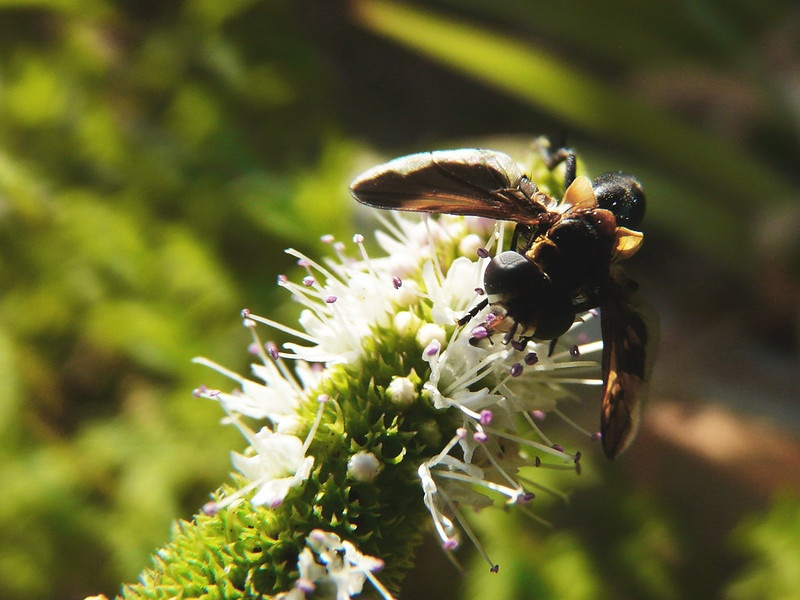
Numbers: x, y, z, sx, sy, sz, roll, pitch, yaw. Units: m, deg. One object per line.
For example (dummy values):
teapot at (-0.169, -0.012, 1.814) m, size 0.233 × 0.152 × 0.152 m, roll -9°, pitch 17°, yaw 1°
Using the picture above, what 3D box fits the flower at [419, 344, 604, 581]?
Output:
flower at (0.273, 0.503, 3.658) m, size 0.855 × 0.676 × 0.265 m, roll -30°, pitch 22°, yaw -32°
